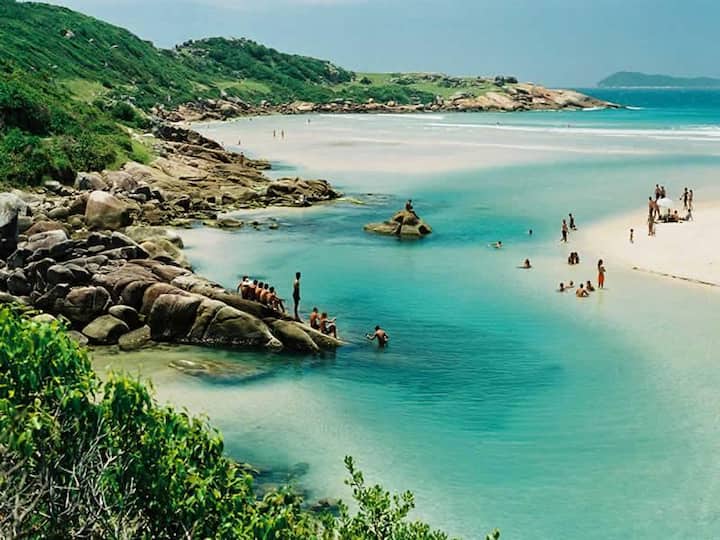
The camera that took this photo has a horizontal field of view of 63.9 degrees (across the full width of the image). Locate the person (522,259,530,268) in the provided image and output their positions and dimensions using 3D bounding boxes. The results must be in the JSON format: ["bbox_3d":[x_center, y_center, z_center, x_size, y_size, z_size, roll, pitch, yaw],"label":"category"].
[{"bbox_3d":[12.999,-0.539,45.021,0.605,0.686,1.700,3,6,16],"label":"person"}]

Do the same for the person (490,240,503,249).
[{"bbox_3d":[12.035,-2.231,50.455,0.965,0.778,0.429,6,3,25],"label":"person"}]

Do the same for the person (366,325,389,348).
[{"bbox_3d":[0.926,3.557,31.761,1.260,1.048,1.966,1,6,1],"label":"person"}]
